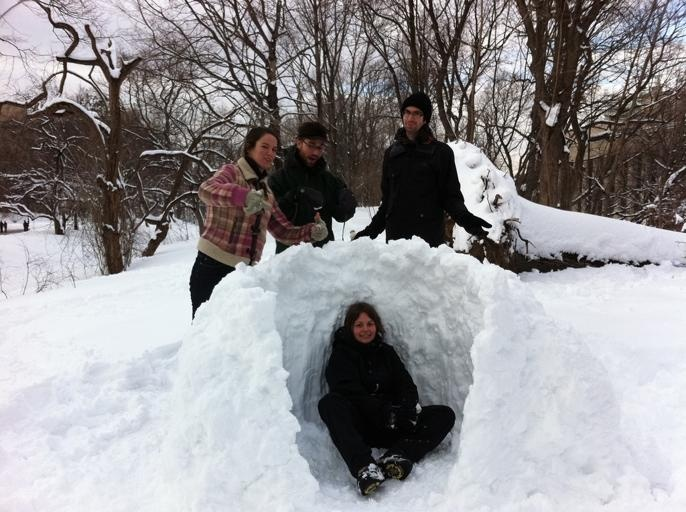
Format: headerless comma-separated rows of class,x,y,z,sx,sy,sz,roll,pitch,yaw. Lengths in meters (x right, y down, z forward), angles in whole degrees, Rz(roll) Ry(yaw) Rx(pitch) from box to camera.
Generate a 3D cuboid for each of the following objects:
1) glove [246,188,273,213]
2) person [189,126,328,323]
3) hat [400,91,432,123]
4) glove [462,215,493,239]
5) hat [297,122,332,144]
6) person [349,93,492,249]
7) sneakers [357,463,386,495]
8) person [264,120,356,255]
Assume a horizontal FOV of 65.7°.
glove,-0.835,-0.550,5.262,0.241,0.277,0.068,2,-3,-18
person,-0.943,-0.362,5.486,1.292,1.871,0.657,-6,15,-19
hat,0.802,-1.601,5.735,0.328,0.323,0.341,1,16,4
glove,1.334,-0.281,5.250,0.260,0.247,0.354,-2,16,-7
hat,-0.323,-1.344,5.737,0.240,0.261,0.213,-4,34,8
person,0.791,-0.923,5.678,1.014,1.573,0.523,3,15,13
sneakers,0.257,2.011,4.754,0.147,0.311,0.180,31,41,-20
person,-0.359,-0.353,5.950,0.857,2.138,0.795,0,4,-24
